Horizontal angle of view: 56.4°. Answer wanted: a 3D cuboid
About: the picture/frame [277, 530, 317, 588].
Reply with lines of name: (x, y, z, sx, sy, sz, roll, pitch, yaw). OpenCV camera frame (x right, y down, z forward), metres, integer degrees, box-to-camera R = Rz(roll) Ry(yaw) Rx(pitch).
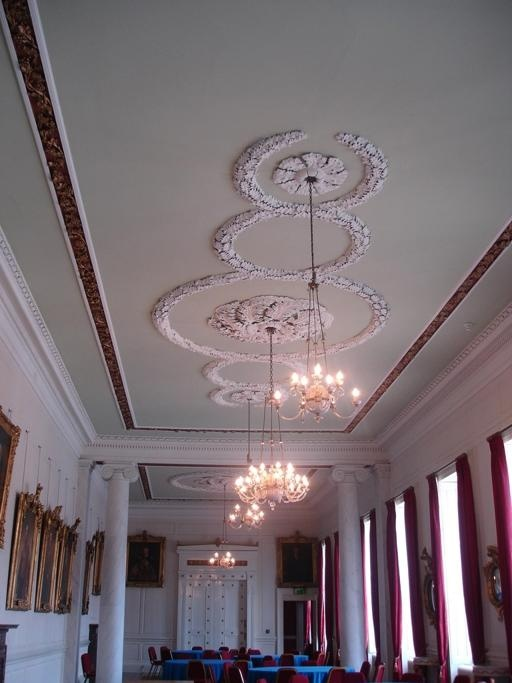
picture/frame: (1.656, 9.189, 19.835, 2.002, 2.355, 0.229, 2, -34, -4)

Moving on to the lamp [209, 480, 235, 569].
lamp: (-1.357, 7.780, 19.712, 0.941, 3.145, 0.914, -4, -26, 6)

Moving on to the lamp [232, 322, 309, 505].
lamp: (0.251, 1.379, 8.607, 1.346, 3.219, 1.319, 9, -15, -40)
